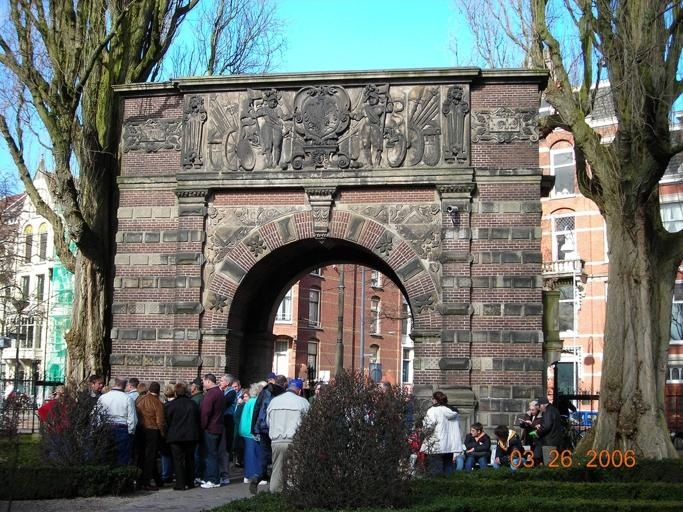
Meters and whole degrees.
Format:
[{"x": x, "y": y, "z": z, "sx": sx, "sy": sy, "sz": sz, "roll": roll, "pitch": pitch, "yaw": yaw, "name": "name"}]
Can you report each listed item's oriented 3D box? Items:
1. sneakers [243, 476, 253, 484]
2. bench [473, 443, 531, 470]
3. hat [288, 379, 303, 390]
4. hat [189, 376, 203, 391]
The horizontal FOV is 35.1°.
[{"x": -2.431, "y": 5.809, "z": 28.067, "sx": 0.206, "sy": 0.239, "sz": 0.523, "roll": 2, "pitch": -16, "yaw": -5, "name": "sneakers"}, {"x": 4.345, "y": 5.158, "z": 28.165, "sx": 1.077, "sy": 0.550, "sz": 0.734, "roll": 11, "pitch": -8, "yaw": -33, "name": "bench"}, {"x": -1.079, "y": 2.906, "z": 25.281, "sx": 0.237, "sy": 0.336, "sz": 0.342, "roll": 7, "pitch": -27, "yaw": 11, "name": "hat"}, {"x": -3.790, "y": 3.427, "z": 28.473, "sx": 0.291, "sy": 0.371, "sz": 0.327, "roll": 1, "pitch": 17, "yaw": -22, "name": "hat"}]
